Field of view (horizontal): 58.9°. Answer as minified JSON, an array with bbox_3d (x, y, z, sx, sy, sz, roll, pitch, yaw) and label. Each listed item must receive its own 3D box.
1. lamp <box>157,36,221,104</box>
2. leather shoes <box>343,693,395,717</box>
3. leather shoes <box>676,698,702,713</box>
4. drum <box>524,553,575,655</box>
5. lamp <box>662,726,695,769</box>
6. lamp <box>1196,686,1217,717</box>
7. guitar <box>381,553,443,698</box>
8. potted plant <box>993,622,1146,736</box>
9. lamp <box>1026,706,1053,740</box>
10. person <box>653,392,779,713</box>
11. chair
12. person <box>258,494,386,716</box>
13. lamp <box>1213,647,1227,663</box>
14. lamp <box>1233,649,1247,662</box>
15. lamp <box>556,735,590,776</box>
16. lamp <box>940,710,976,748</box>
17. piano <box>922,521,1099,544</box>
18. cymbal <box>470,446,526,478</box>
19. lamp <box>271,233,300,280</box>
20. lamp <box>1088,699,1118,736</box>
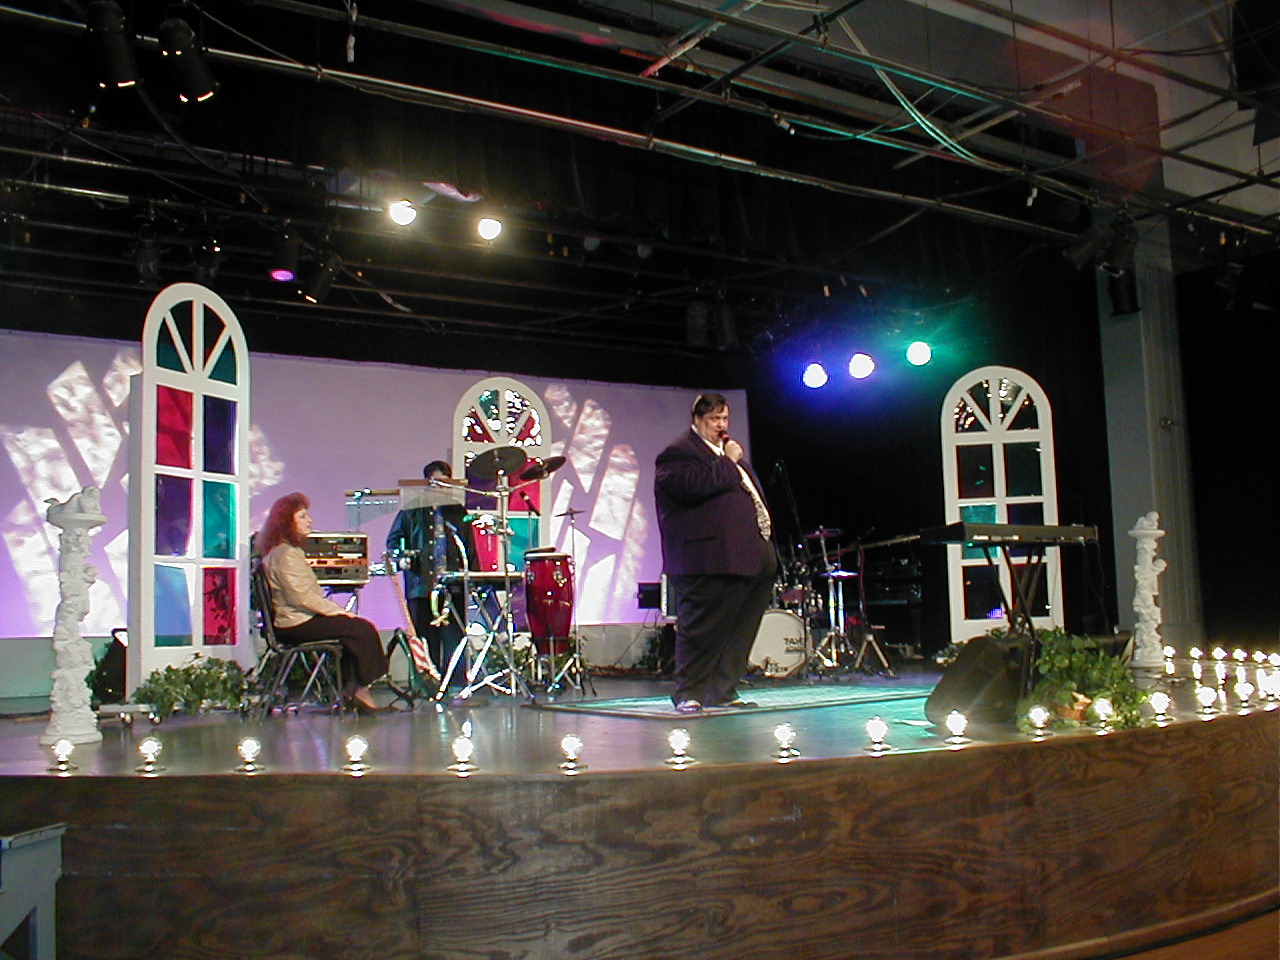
[{"bbox_3d":[-2.730,-2.486,6.814,0.242,0.316,0.292,-2,-7,0],"label":"lamp"},{"bbox_3d":[-1.706,1.432,7.180,0.383,0.174,0.128,-3,-11,3],"label":"leather shoes"},{"bbox_3d":[0.283,1.286,6.425,0.146,0.071,0.155,-2,-8,-6],"label":"leather shoes"},{"bbox_3d":[-0.677,0.909,8.395,0.351,0.767,0.539,-1,-7,-7],"label":"drum"},{"bbox_3d":[0.170,1.108,4.703,0.152,0.156,0.155,2,-12,-11],"label":"lamp"},{"bbox_3d":[2.730,1.080,5.475,0.078,0.087,0.082,-3,-12,13],"label":"lamp"},{"bbox_3d":[-1.573,0.982,7.690,0.117,0.969,0.235,-15,2,3],"label":"guitar"},{"bbox_3d":[1.978,0.911,5.239,0.584,0.427,0.494,-4,-7,16],"label":"potted plant"},{"bbox_3d":[1.745,1.080,4.973,0.100,0.114,0.097,0,-5,-37],"label":"lamp"},{"bbox_3d":[0.439,0.382,6.603,0.685,1.866,0.451,-2,-6,-1],"label":"person"},{"bbox_3d":[-2.212,0.977,7.363,0.552,0.920,0.538,-1,17,-20],"label":"chair"},{"bbox_3d":[-2.071,0.782,7.310,0.843,1.442,0.450,-1,-6,-6],"label":"person"},{"bbox_3d":[3.784,1.138,7.418,0.053,0.104,1.256,-5,-8,26],"label":"lamp"},{"bbox_3d":[3.877,1.139,7.339,0.056,0.098,1.178,-5,-8,27],"label":"lamp"},{"bbox_3d":[-0.286,1.151,4.718,0.150,0.155,0.146,8,-14,-40],"label":"lamp"},{"bbox_3d":[1.371,1.073,4.848,0.155,0.162,0.158,0,-10,-12],"label":"lamp"},{"bbox_3d":[1.872,0.275,5.753,0.901,0.119,0.410,2,-9,-33],"label":"piano"},{"bbox_3d":[-0.967,-0.125,7.699,0.322,0.214,0.394,1,-8,-27],"label":"cymbal"},{"bbox_3d":[-2.923,-1.842,9.312,0.181,0.439,0.193,2,-32,-13],"label":"lamp"},{"bbox_3d":[2.029,1.036,4.958,0.111,0.145,0.223,-5,-8,23],"label":"lamp"}]
